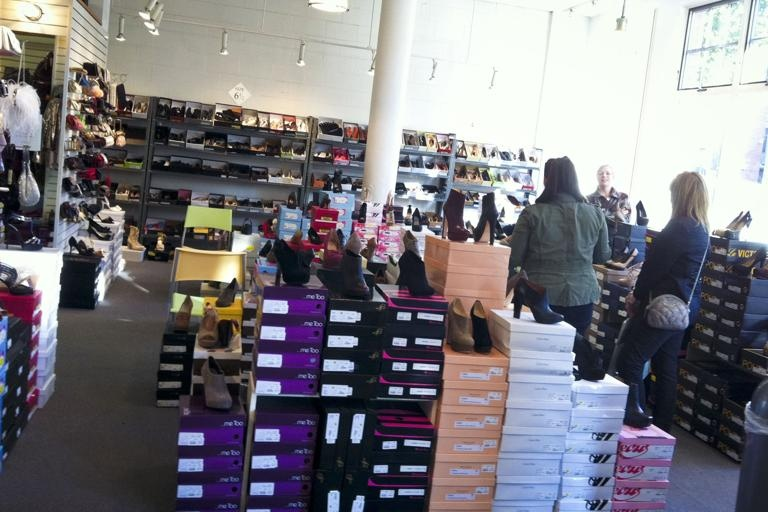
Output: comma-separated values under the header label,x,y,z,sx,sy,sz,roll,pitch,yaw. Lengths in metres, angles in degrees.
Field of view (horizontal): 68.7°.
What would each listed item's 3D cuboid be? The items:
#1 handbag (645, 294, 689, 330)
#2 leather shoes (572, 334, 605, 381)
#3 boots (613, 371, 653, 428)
label,x,y,z,sx,sy,sz,roll,pitch,yaw
handbag,2.518,0.503,4.990,0.304,0.237,0.161,3,12,5
leather shoes,1.588,0.805,4.331,0.148,0.175,0.430,-2,6,2
boots,2.023,1.204,4.439,0.170,0.378,0.403,11,-10,-4
